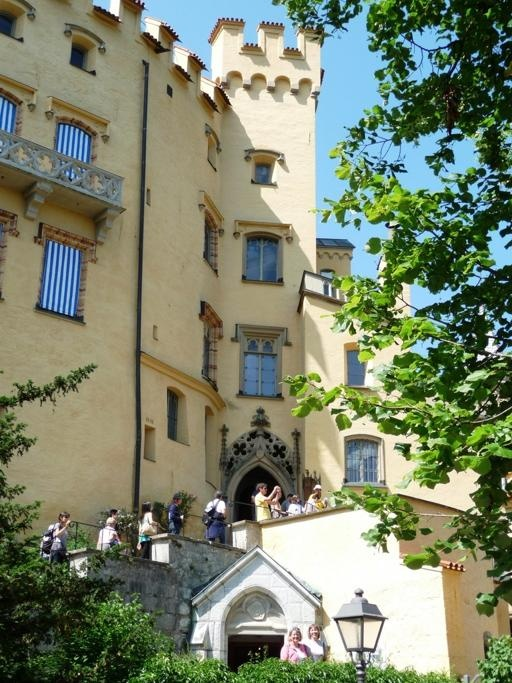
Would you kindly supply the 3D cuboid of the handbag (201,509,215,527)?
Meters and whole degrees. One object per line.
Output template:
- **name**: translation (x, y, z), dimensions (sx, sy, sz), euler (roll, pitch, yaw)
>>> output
- **handbag**: translation (-0.968, 3.749, 19.453), dimensions (0.233, 0.406, 0.489), euler (2, -16, -2)

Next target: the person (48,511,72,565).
- **person**: translation (-3.346, 3.297, 15.621), dimensions (0.321, 0.876, 1.149), euler (5, -16, -12)

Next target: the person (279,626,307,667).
- **person**: translation (0.595, 4.483, 13.634), dimensions (0.407, 0.435, 1.026), euler (1, -16, 3)
